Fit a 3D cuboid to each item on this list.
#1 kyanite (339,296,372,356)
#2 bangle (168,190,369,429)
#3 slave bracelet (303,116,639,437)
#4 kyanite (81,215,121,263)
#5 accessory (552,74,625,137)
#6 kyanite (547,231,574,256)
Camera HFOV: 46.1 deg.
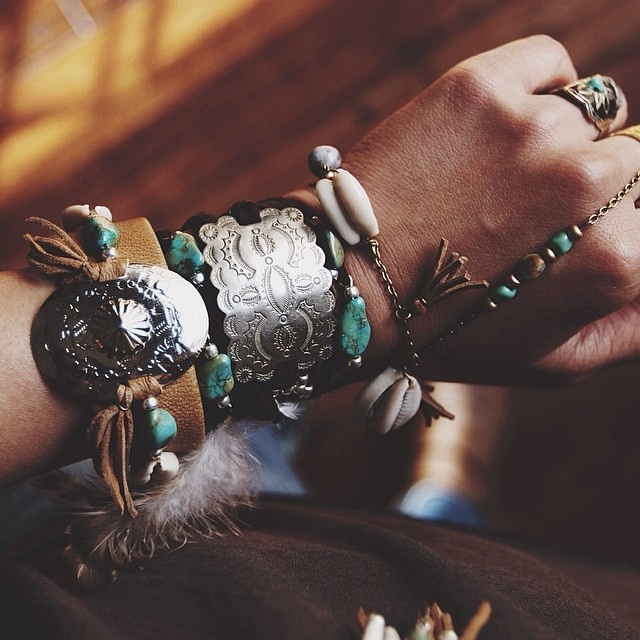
[{"bbox_3d":[0.043,0.009,0.909,0.051,0.027,0.061,0,96,-27],"label":"kyanite"},{"bbox_3d":[-0.045,-0.014,0.886,0.310,0.095,0.240,-12,96,-24],"label":"bangle"},{"bbox_3d":[0.164,-0.046,1.006,0.491,0.111,0.337,-42,63,-11],"label":"slave bracelet"},{"bbox_3d":[-0.238,-0.091,0.841,0.037,0.038,0.051,-24,48,-10],"label":"kyanite"},{"bbox_3d":[0.381,-0.290,1.042,0.067,0.089,0.086,-31,117,-43],"label":"accessory"},{"bbox_3d":[0.299,-0.094,0.929,0.020,0.017,0.032,48,50,4],"label":"kyanite"}]
